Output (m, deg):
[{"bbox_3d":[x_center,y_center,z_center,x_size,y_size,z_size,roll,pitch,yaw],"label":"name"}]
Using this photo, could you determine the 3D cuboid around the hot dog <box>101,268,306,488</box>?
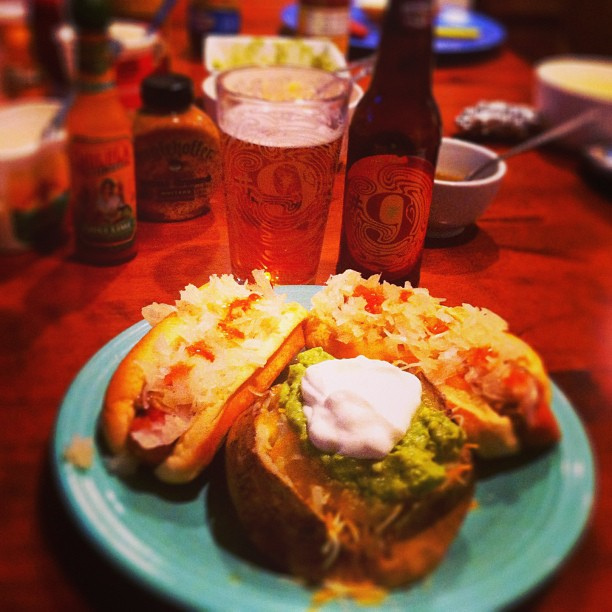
[{"bbox_3d":[-0.095,0.051,0.566,0.122,0.070,0.225,24,53,17],"label":"hot dog"}]

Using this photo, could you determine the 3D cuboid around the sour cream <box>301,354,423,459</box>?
[{"bbox_3d":[0.038,0.076,0.460,0.094,0.029,0.090,12,41,11],"label":"sour cream"}]

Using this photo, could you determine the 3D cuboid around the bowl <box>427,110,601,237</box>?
[{"bbox_3d":[0.241,-0.170,0.759,0.218,0.078,0.095,-19,47,-17],"label":"bowl"}]

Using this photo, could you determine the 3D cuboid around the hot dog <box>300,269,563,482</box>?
[{"bbox_3d":[0.092,0.060,0.612,0.199,0.111,0.322,-7,21,-30],"label":"hot dog"}]
